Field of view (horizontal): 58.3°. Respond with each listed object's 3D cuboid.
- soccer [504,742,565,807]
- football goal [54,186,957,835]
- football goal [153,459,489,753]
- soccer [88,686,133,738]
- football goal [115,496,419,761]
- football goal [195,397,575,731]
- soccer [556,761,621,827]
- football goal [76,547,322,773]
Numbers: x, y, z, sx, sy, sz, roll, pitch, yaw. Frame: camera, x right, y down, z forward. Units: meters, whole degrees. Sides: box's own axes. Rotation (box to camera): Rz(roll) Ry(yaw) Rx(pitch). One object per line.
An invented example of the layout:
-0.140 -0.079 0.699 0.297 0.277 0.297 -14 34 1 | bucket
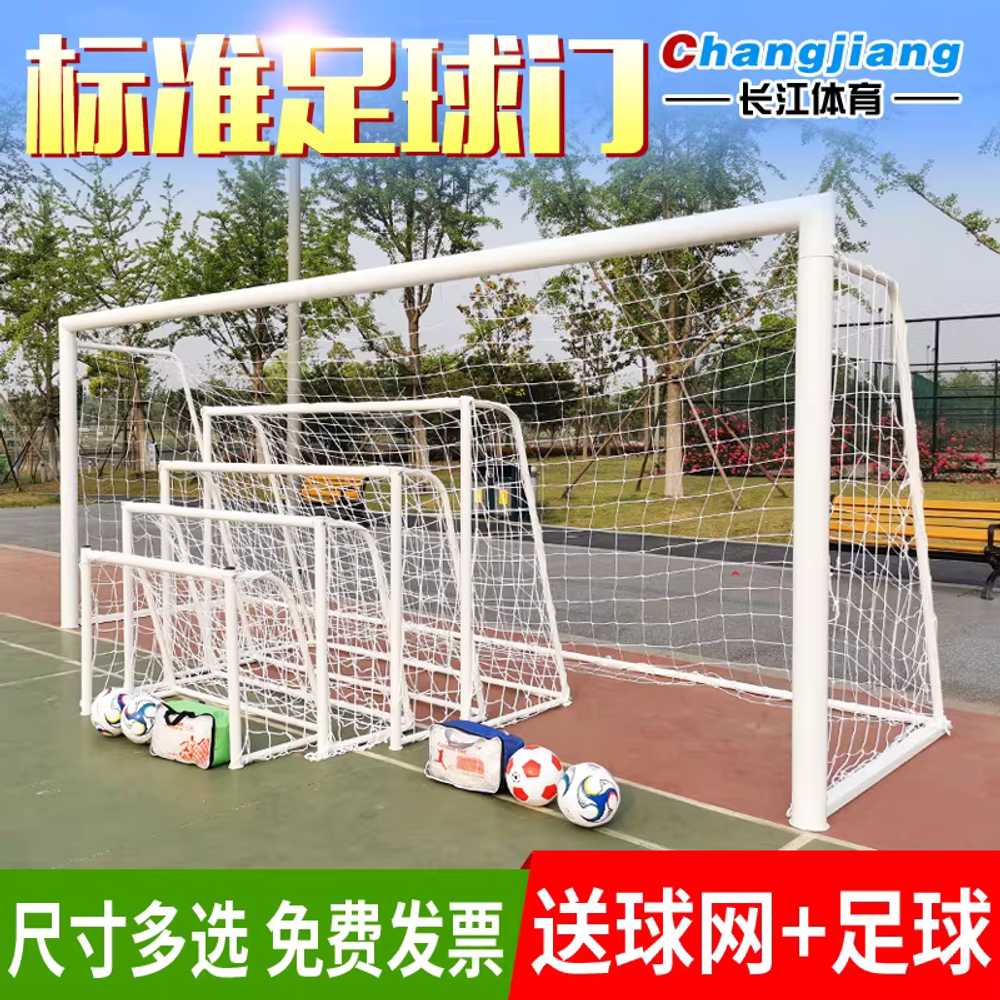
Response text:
0.186 1.239 4.089 0.251 0.281 0.246 7 -22 8 | soccer
-1.022 -0.082 5.780 7.238 2.839 2.400 3 7 22 | football goal
-1.128 0.642 6.708 2.194 1.614 2.281 -3 -7 -25 | football goal
-2.154 1.136 4.957 0.257 0.287 0.256 -3 -1 2 | soccer
-1.296 0.735 6.107 2.093 1.321 1.490 7 12 39 | football goal
-0.906 0.471 6.521 2.553 2.105 1.223 1 4 41 | football goal
0.360 1.219 3.728 0.258 0.253 0.245 5 -21 5 | soccer
-1.964 0.941 5.923 2.164 1.381 1.124 5 9 39 | football goal
